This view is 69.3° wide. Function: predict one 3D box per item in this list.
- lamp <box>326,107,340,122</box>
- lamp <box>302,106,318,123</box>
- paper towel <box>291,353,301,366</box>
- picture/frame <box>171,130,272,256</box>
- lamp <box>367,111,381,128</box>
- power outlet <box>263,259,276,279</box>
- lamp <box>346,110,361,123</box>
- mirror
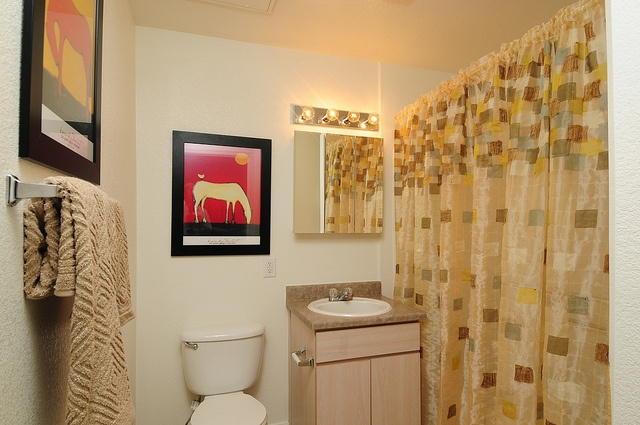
[{"bbox_3d":[0.079,-0.721,3.402,0.086,0.099,0.141,-3,6,-1],"label":"lamp"},{"bbox_3d":[-0.091,-0.706,3.339,0.095,0.096,0.132,8,12,-12],"label":"lamp"},{"bbox_3d":[-0.147,0.907,2.862,0.056,0.025,0.100,7,-3,-7],"label":"paper towel"},{"bbox_3d":[-0.704,-0.123,3.173,0.805,1.064,0.048,2,0,-23],"label":"picture/frame"},{"bbox_3d":[0.410,-0.692,3.519,0.110,0.113,0.081,1,-2,-12],"label":"lamp"},{"bbox_3d":[-0.361,0.403,3.275,0.127,0.189,0.018,2,-1,-11],"label":"power outlet"},{"bbox_3d":[0.248,-0.704,3.445,0.076,0.080,0.106,-26,13,1],"label":"lamp"},{"bbox_3d":[0.114,-0.199,3.396,0.733,0.846,0.033,0,1,-12],"label":"mirror"}]
